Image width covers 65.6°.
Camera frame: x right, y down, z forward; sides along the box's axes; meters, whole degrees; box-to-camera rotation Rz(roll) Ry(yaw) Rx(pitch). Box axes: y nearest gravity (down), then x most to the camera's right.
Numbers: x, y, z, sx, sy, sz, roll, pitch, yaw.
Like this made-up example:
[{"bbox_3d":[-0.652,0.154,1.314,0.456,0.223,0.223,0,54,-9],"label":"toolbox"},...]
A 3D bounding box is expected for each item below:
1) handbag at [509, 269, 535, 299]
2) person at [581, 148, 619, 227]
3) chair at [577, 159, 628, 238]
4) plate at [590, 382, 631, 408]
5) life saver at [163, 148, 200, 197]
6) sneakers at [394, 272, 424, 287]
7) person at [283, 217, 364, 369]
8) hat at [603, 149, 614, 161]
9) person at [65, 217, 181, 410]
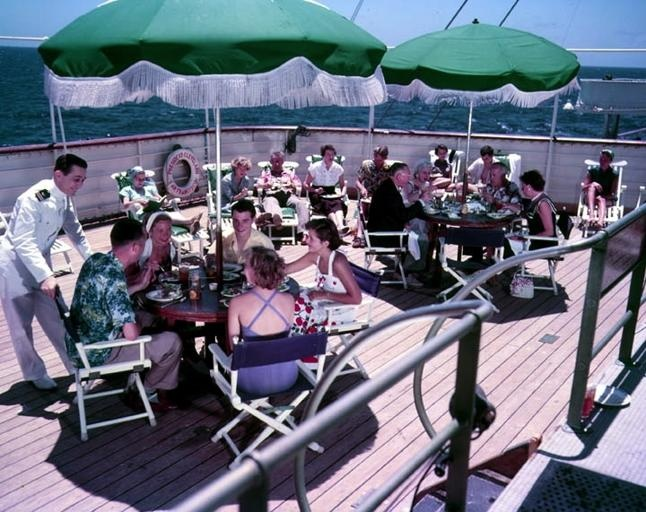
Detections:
[{"bbox_3d":[2.711,0.402,6.851,0.324,0.444,0.126,5,15,24],"label":"handbag"},{"bbox_3d":[5.282,-1.307,9.658,0.603,1.431,0.870,7,15,41],"label":"person"},{"bbox_3d":[5.294,-1.235,9.629,0.727,1.386,1.521,11,24,31],"label":"chair"},{"bbox_3d":[1.678,0.812,2.915,0.164,0.034,0.132,-5,26,-15],"label":"plate"},{"bbox_3d":[-2.822,-1.653,9.932,0.220,0.895,0.862,7,0,30],"label":"life saver"},{"bbox_3d":[1.265,0.337,7.168,0.295,0.129,0.158,11,16,41],"label":"sneakers"},{"bbox_3d":[0.046,0.032,4.663,0.802,0.926,0.671,-3,23,-8],"label":"person"},{"bbox_3d":[5.434,-1.932,9.574,0.160,0.194,0.295,6,15,39],"label":"hat"},{"bbox_3d":[-1.602,0.506,4.140,0.754,1.526,0.846,17,16,39],"label":"person"}]
